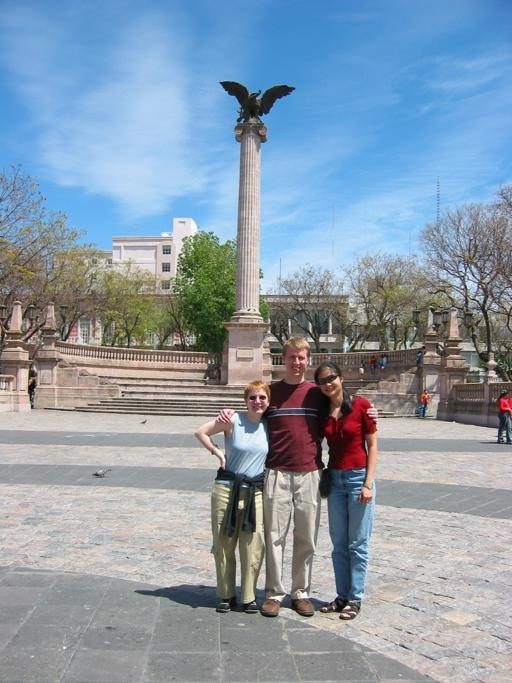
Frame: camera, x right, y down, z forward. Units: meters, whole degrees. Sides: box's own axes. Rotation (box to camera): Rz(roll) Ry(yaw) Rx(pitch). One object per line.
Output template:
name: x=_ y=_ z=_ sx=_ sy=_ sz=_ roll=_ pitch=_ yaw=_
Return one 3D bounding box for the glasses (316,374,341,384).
glasses: x=0.503 y=0.263 z=5.456 sx=0.138 sy=0.073 sz=0.076 roll=0 pitch=-2 yaw=-1
